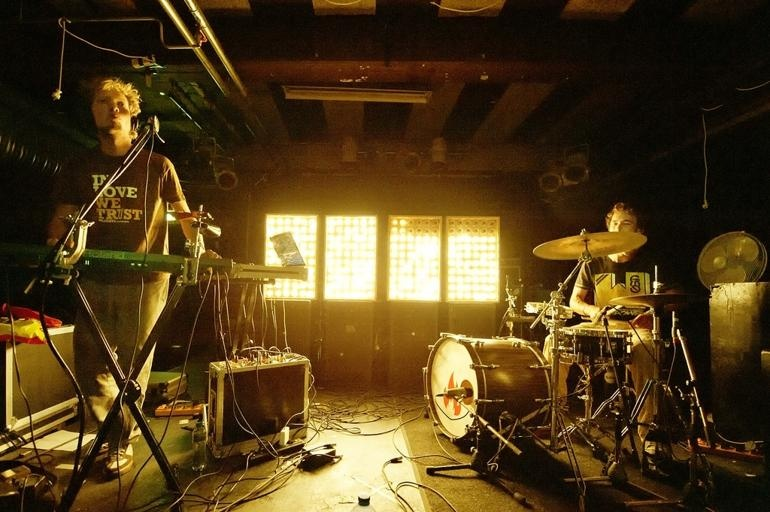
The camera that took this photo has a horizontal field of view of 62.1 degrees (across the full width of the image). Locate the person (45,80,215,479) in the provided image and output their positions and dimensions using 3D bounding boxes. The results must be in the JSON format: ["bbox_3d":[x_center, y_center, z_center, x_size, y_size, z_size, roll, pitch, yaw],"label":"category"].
[{"bbox_3d":[-2.239,0.132,5.363,1.066,3.417,0.932,6,-7,-28],"label":"person"}]

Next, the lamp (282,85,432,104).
[{"bbox_3d":[-0.290,-1.689,6.685,1.499,0.101,0.219,2,-6,0],"label":"lamp"}]

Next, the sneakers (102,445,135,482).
[{"bbox_3d":[-2.297,1.798,5.527,0.230,0.227,0.607,6,-18,-20],"label":"sneakers"}]

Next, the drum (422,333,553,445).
[{"bbox_3d":[0.957,1.190,6.450,1.015,1.242,1.256,6,-9,-34],"label":"drum"}]

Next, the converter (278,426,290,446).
[{"bbox_3d":[-0.949,1.686,5.996,0.061,0.152,0.179,0,-6,4],"label":"converter"}]

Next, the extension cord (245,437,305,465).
[{"bbox_3d":[-1.015,1.805,5.889,0.391,0.084,0.158,-4,1,-28],"label":"extension cord"}]

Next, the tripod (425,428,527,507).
[{"bbox_3d":[0.862,1.759,5.595,0.722,0.284,0.612,9,-9,-35],"label":"tripod"}]
